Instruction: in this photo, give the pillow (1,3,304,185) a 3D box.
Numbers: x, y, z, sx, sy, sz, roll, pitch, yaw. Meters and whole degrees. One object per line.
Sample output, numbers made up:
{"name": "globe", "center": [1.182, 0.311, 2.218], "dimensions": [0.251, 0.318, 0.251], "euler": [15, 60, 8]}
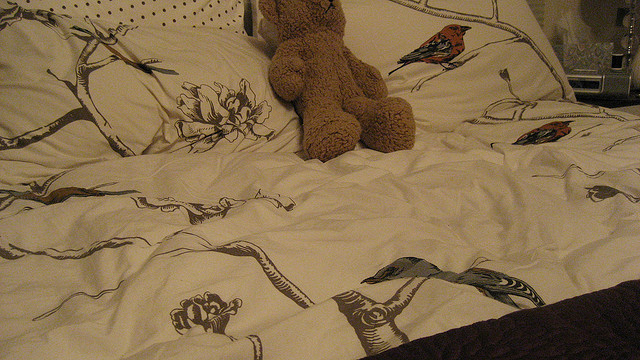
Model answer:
{"name": "pillow", "center": [-0.546, -0.279, 2.025], "dimensions": [0.934, 0.265, 0.532], "euler": [2, 69, -23]}
